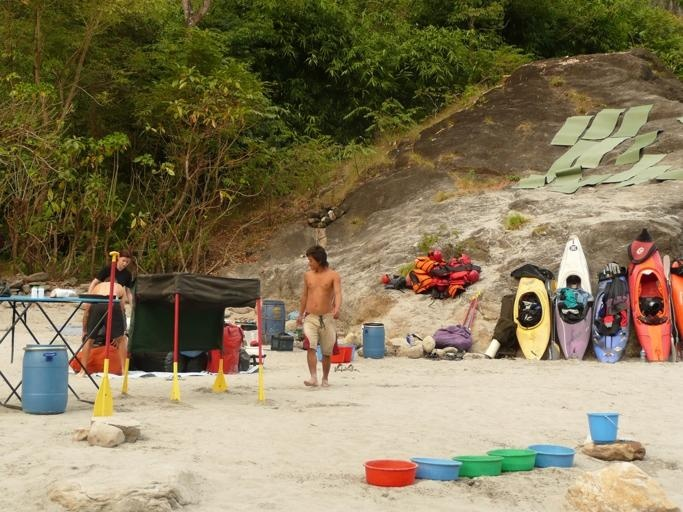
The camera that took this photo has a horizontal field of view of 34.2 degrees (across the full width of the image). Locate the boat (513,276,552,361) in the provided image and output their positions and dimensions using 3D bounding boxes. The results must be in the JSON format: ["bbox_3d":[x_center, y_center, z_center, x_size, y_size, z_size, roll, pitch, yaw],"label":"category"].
[{"bbox_3d":[4.499,1.577,26.025,0.683,2.096,0.508,-6,-10,27],"label":"boat"}]

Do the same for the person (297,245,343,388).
[{"bbox_3d":[-0.472,1.211,22.806,0.846,2.893,1.057,-1,-6,-1],"label":"person"}]

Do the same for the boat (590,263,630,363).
[{"bbox_3d":[6.202,1.404,25.747,0.921,0.764,3.199,-4,39,18],"label":"boat"}]

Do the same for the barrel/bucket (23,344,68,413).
[{"bbox_3d":[-5.534,2.301,20.696,0.818,1.277,0.386,1,-6,-17],"label":"barrel/bucket"}]

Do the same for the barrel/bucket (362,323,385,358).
[{"bbox_3d":[0.713,1.973,25.979,0.497,0.790,0.530,1,0,0],"label":"barrel/bucket"}]

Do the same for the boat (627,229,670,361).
[{"bbox_3d":[7.059,0.812,25.613,0.680,3.145,0.800,-5,-9,18],"label":"boat"}]

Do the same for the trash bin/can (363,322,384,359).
[{"bbox_3d":[0.708,1.963,25.988,0.524,0.821,0.529,1,2,-8],"label":"trash bin/can"}]

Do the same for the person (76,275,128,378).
[{"bbox_3d":[-4.877,1.376,23.133,1.007,2.901,0.979,8,-43,-12],"label":"person"}]

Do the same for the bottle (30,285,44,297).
[{"bbox_3d":[-6.020,0.689,21.934,0.238,0.254,0.136,1,4,10],"label":"bottle"}]

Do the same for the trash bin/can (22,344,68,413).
[{"bbox_3d":[-5.594,2.329,21.008,0.837,1.323,0.907,-2,-2,15],"label":"trash bin/can"}]

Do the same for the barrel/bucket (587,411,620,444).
[{"bbox_3d":[4.619,3.065,19.865,0.508,0.460,0.522,-1,-10,0],"label":"barrel/bucket"}]

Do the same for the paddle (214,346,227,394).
[{"bbox_3d":[-2.471,2.357,22.425,0.269,0.771,0.366,0,-6,-7],"label":"paddle"}]

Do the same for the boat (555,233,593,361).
[{"bbox_3d":[5.400,1.251,25.986,0.953,0.728,3.687,0,33,12],"label":"boat"}]
